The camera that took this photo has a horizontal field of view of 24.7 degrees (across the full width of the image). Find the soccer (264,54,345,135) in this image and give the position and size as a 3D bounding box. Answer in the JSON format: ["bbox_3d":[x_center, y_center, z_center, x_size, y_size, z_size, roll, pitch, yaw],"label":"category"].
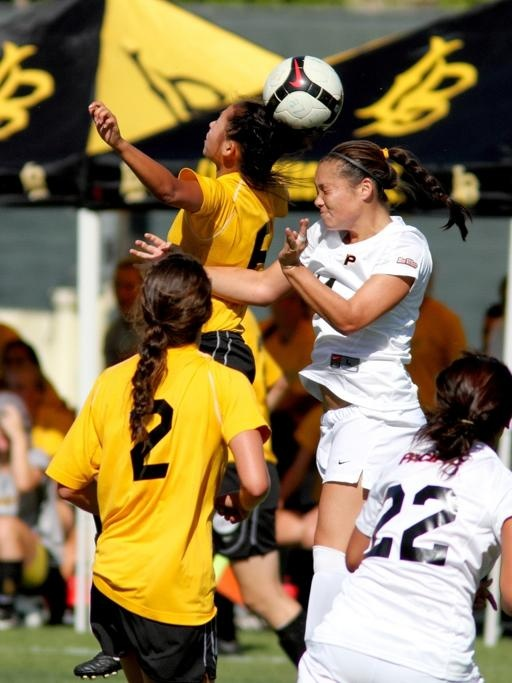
[{"bbox_3d":[0.160,-0.828,3.892,0.263,0.261,0.161,2,3,-1],"label":"soccer"}]

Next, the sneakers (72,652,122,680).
[{"bbox_3d":[-0.464,0.982,3.515,0.201,0.074,0.083,3,-7,-41],"label":"sneakers"}]
